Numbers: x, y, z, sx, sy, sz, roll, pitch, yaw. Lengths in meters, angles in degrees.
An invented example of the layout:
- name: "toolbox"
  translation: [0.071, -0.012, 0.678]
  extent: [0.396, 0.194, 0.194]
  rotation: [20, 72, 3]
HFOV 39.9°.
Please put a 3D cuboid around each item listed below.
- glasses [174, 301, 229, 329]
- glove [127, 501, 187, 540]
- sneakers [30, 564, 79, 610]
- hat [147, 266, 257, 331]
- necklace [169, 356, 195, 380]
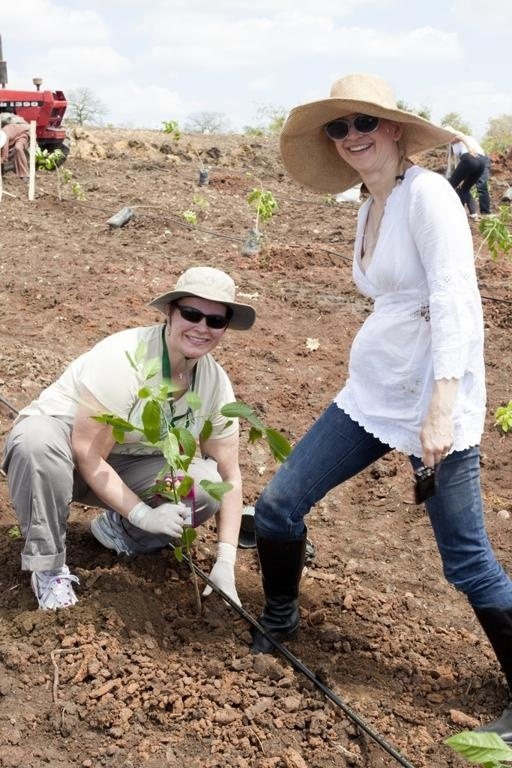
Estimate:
- name: "glasses"
  translation: [-0.179, -0.232, 2.369]
  extent: [0.196, 0.085, 0.117]
  rotation: [2, 18, -9]
- name: "glove"
  translation: [-0.333, 0.456, 2.415]
  extent: [0.199, 0.098, 0.129]
  rotation: [4, -27, 37]
- name: "sneakers"
  translation: [-0.687, 0.691, 2.428]
  extent: [0.093, 0.087, 0.198]
  rotation: [-9, 46, -40]
- name: "hat"
  translation: [-0.192, -0.305, 2.435]
  extent: [0.288, 0.110, 0.271]
  rotation: [19, -27, -22]
- name: "necklace"
  translation: [-0.255, -0.051, 2.452]
  extent: [0.083, 0.086, 0.071]
  rotation: [3, 23, 13]
